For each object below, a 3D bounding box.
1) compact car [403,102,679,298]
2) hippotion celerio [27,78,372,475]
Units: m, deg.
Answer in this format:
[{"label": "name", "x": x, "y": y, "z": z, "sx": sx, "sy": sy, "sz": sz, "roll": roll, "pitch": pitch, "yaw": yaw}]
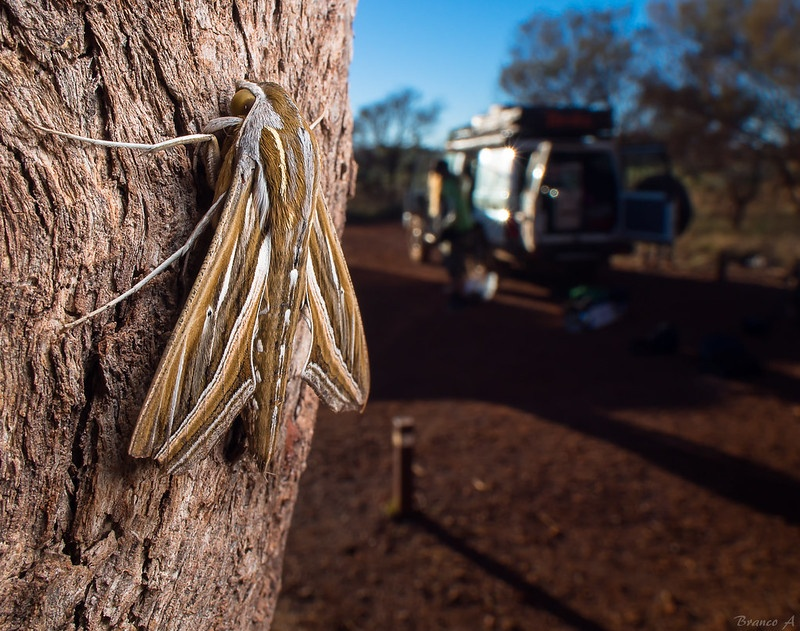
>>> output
[{"label": "compact car", "x": 0.998, "y": -0.908, "z": 5.950, "sx": 1.036, "sy": 0.934, "sz": 1.888, "roll": -8, "pitch": 25, "yaw": -15}, {"label": "hippotion celerio", "x": -0.758, "y": -0.084, "z": 3.181, "sx": 0.367, "sy": 1.290, "sz": 1.080, "roll": -2, "pitch": 5, "yaw": 42}]
